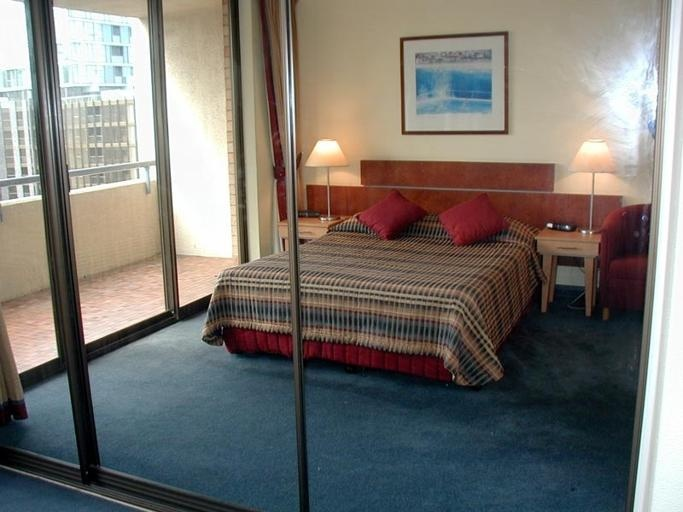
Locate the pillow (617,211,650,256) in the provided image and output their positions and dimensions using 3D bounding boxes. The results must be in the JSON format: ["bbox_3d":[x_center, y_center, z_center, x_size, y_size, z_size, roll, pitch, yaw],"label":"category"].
[{"bbox_3d":[0.929,-0.084,1.714,0.045,0.167,0.115,-6,15,-19],"label":"pillow"}]

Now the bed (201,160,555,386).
[{"bbox_3d":[0.194,0.018,2.756,1.586,1.041,0.892,5,15,20],"label":"bed"}]

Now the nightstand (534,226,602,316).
[{"bbox_3d":[0.913,0.022,2.164,0.226,0.342,0.210,3,31,26],"label":"nightstand"}]

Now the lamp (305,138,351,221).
[{"bbox_3d":[-0.059,-0.357,2.586,0.204,0.402,0.203,-1,18,1],"label":"lamp"}]

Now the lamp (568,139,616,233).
[{"bbox_3d":[0.872,-0.238,1.898,0.090,0.341,0.191,1,14,8],"label":"lamp"}]

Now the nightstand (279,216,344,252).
[{"bbox_3d":[-0.201,-0.106,3.010,0.252,0.254,0.202,3,26,-1],"label":"nightstand"}]
